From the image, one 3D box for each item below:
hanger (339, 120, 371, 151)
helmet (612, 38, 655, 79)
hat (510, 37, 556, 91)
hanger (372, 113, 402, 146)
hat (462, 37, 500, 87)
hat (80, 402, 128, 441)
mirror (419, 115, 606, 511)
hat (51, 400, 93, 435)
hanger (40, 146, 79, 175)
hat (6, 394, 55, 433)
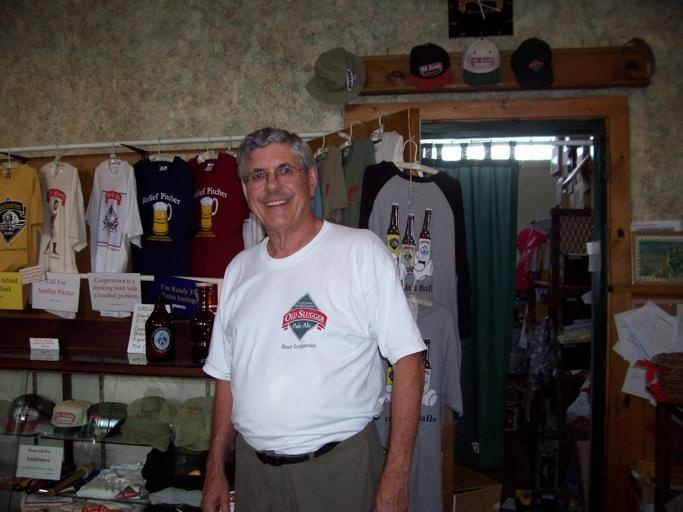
[{"bbox_3d":[0.062,-0.718,3.785,0.174,0.085,0.206,-1,23,19],"label":"hanger"},{"bbox_3d":[1.915,-1.271,3.984,0.224,0.272,0.092,-1,4,2],"label":"helmet"},{"bbox_3d":[1.221,-1.222,3.873,0.227,0.336,0.114,-3,6,3],"label":"hat"},{"bbox_3d":[0.268,-0.739,3.614,0.194,0.238,0.022,7,6,40],"label":"hanger"},{"bbox_3d":[0.904,-1.230,3.937,0.199,0.313,0.129,-1,-17,6],"label":"hat"},{"bbox_3d":[-1.336,0.929,3.476,0.252,0.247,0.157,0,-26,4],"label":"hat"},{"bbox_3d":[1.264,0.476,4.515,2.596,3.114,0.237,-3,3,-38],"label":"mirror"},{"bbox_3d":[-1.540,0.912,3.473,0.137,0.131,0.202,1,-1,-4],"label":"hat"},{"bbox_3d":[-1.873,-0.632,4.084,0.182,0.201,0.010,2,-3,-6],"label":"hanger"},{"bbox_3d":[-1.791,0.904,3.508,0.242,0.196,0.173,9,-11,-33],"label":"hat"}]
